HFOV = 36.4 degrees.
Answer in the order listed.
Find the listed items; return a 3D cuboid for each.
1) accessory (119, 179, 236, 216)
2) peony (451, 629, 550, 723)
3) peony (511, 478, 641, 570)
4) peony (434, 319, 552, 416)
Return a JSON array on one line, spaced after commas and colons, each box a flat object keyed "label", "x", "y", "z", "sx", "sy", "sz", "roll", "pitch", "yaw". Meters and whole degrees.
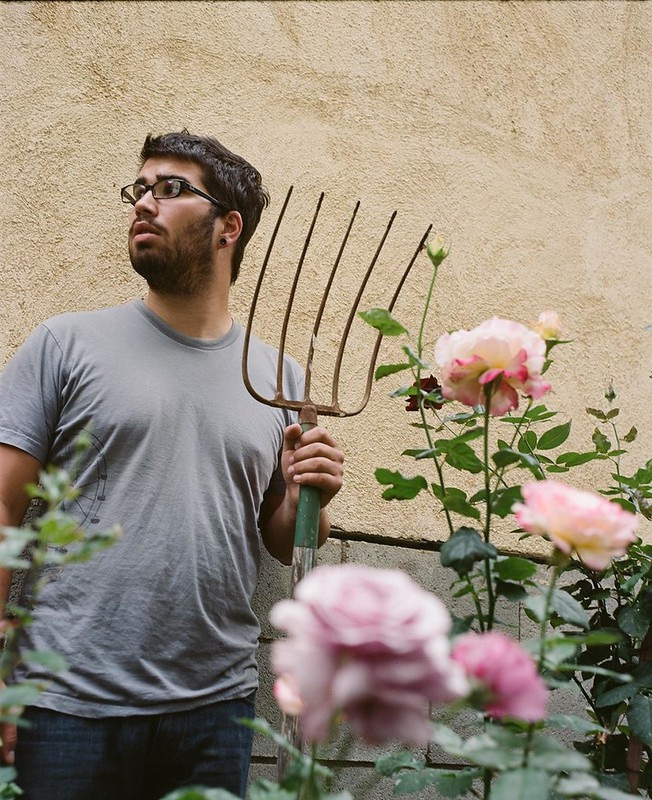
[{"label": "accessory", "x": -0.330, "y": -0.431, "z": 2.137, "sx": 0.218, "sy": 0.077, "sz": 0.115, "roll": 3, "pitch": 11, "yaw": 15}, {"label": "peony", "x": 0.148, "y": 0.239, "z": 0.883, "sx": 0.096, "sy": 0.036, "sz": 0.089, "roll": 9, "pitch": 22, "yaw": 34}, {"label": "peony", "x": 0.256, "y": 0.116, "z": 1.024, "sx": 0.104, "sy": 0.096, "sz": 0.094, "roll": 11, "pitch": -1, "yaw": 10}, {"label": "peony", "x": 0.254, "y": -0.041, "z": 1.371, "sx": 0.203, "sy": 0.152, "sz": 0.110, "roll": -10, "pitch": 17, "yaw": -35}]
